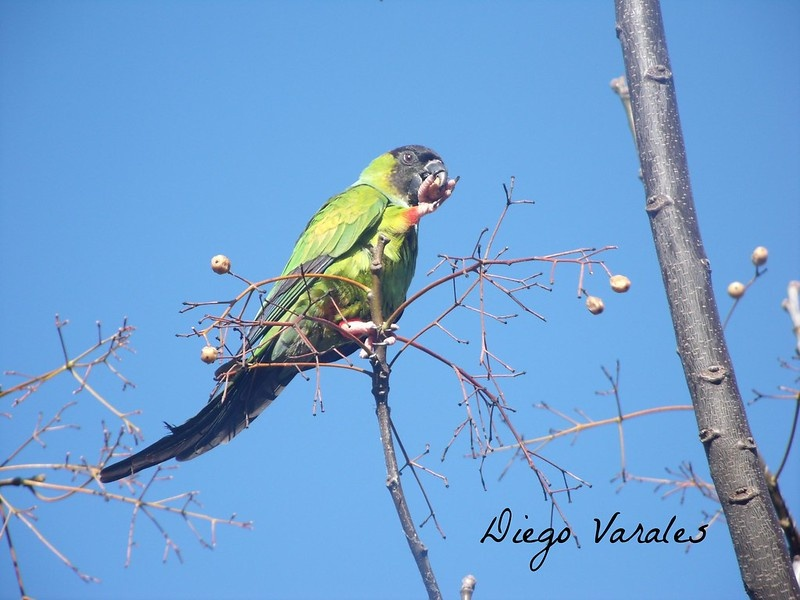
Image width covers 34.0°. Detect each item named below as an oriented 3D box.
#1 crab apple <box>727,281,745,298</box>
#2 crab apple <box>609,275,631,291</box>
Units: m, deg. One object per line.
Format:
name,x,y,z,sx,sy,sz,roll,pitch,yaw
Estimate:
crab apple,0.928,-0.028,3.612,0.036,0.039,0.047,5,-84,9
crab apple,0.581,-0.045,3.472,0.037,0.082,0.040,-8,-74,3
